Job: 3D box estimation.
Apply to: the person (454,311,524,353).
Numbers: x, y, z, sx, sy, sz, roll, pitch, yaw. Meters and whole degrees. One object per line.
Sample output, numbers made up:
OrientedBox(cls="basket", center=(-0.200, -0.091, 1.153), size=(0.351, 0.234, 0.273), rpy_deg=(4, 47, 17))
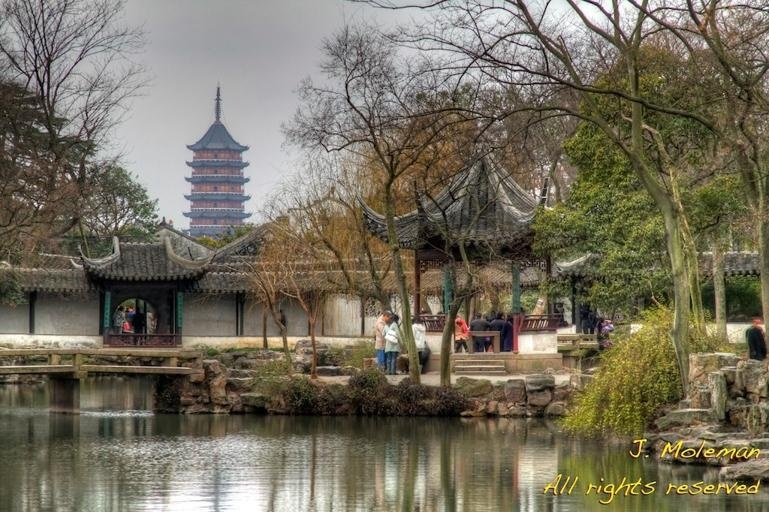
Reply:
OrientedBox(cls="person", center=(3.008, 2.158, 45.094), size=(1.944, 1.206, 0.875), rpy_deg=(-3, -9, 3))
